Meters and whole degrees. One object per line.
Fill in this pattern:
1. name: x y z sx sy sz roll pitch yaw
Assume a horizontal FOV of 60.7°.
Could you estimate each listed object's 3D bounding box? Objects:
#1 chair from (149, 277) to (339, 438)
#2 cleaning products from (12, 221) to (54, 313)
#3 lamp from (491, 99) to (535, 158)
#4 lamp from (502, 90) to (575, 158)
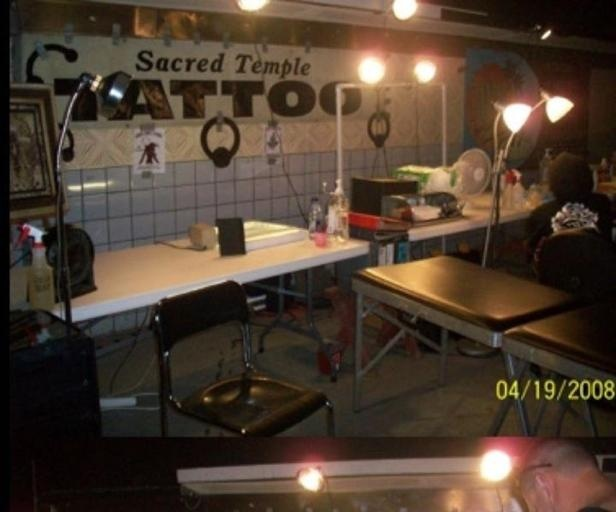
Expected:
1. chair: -0.220 0.473 1.907 0.508 0.678 0.466 5 11 30
2. cleaning products: -1.022 0.047 1.873 0.202 0.311 0.202 -4 6 -32
3. lamp: 1.088 -0.684 2.778 0.142 0.091 0.227 -8 -27 21
4. lamp: 1.036 -0.663 2.374 0.240 0.339 0.125 2 41 15
